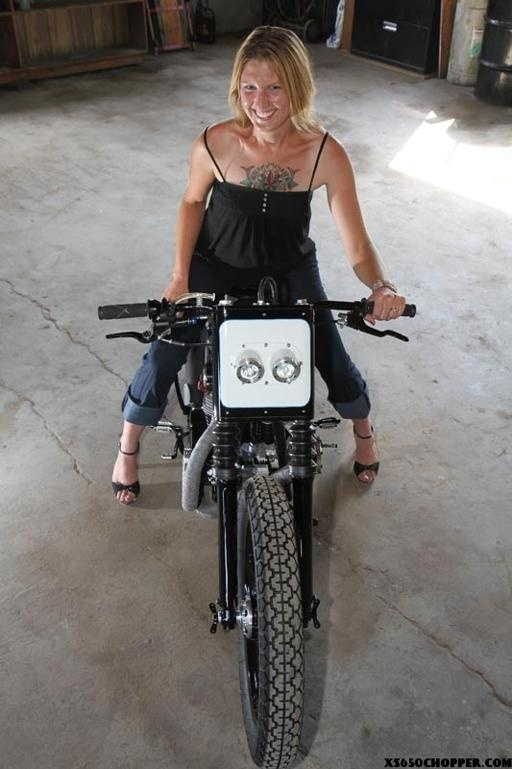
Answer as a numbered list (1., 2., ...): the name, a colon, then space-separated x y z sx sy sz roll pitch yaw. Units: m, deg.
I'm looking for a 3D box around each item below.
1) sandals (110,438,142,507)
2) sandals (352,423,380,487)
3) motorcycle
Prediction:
1. sandals: -0.458 0.324 2.310 0.077 0.099 0.252 -1 32 -4
2. sandals: 0.416 0.257 2.423 0.083 0.250 0.098 -2 5 9
3. motorcycle: 0.000 0.085 1.637 0.653 0.825 1.346 0 26 -4
